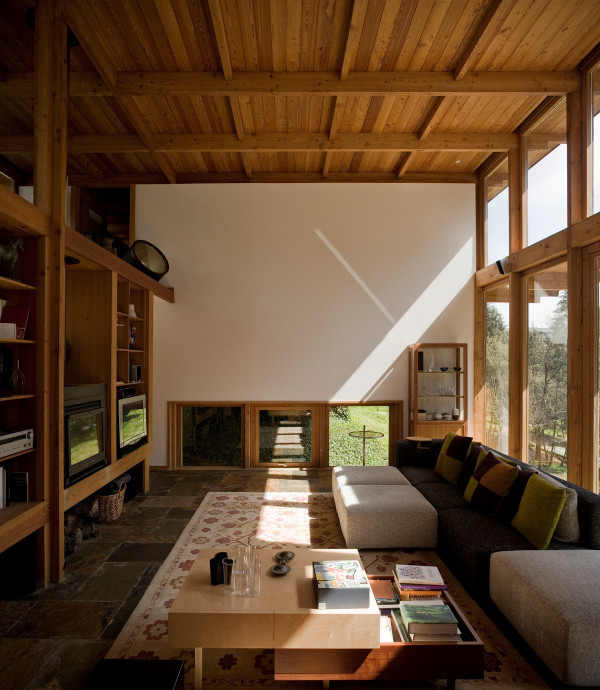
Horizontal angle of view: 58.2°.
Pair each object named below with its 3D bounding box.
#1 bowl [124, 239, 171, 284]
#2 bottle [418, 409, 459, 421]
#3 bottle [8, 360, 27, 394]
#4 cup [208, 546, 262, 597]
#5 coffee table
[{"bbox_3d":[-1.603,-0.948,5.833,0.347,0.472,0.449,-17,-14,38],"label":"bowl"},{"bbox_3d":[1.633,0.831,6.304,0.491,0.123,0.255,-1,-2,10],"label":"bottle"},{"bbox_3d":[-1.739,0.201,3.326,0.080,0.209,0.074,-1,-3,0],"label":"bottle"},{"bbox_3d":[-0.302,1.148,2.741,0.222,0.204,0.219,1,-4,0],"label":"cup"},{"bbox_3d":[0.098,1.315,2.639,1.417,0.568,0.590,-1,-2,3],"label":"coffee table"}]
